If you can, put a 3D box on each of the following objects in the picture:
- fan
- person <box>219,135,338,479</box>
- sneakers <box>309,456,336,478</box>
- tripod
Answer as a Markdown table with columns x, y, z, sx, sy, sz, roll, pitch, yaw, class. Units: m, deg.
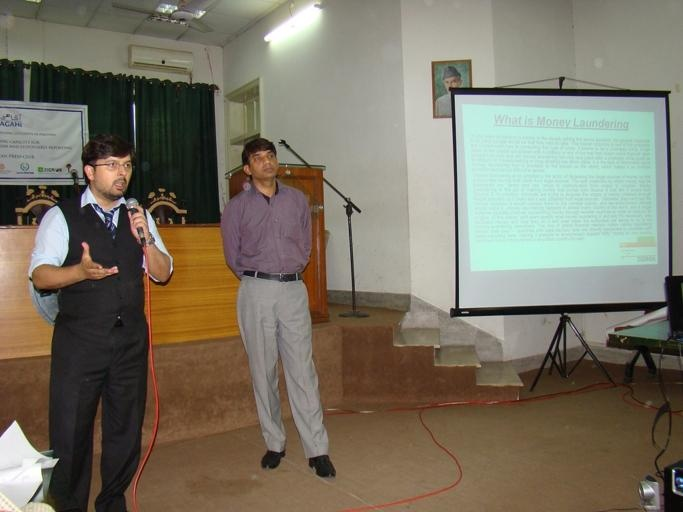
| x | y | z | sx | sy | sz | roll | pitch | yaw | class |
| --- | --- | --- | --- | --- | --- | --- | --- | --- | --- |
| -2.099 | -2.953 | 6.985 | 0.754 | 0.224 | 0.799 | 12 | 9 | 27 | fan |
| -0.419 | 0.435 | 3.792 | 0.786 | 1.916 | 0.543 | 0 | 8 | 8 | person |
| -0.113 | 1.355 | 3.688 | 0.184 | 0.134 | 0.101 | -3 | 0 | 45 | sneakers |
| 2.178 | 0.933 | 5.356 | 0.541 | 0.792 | 0.513 | -3 | 9 | -7 | tripod |
